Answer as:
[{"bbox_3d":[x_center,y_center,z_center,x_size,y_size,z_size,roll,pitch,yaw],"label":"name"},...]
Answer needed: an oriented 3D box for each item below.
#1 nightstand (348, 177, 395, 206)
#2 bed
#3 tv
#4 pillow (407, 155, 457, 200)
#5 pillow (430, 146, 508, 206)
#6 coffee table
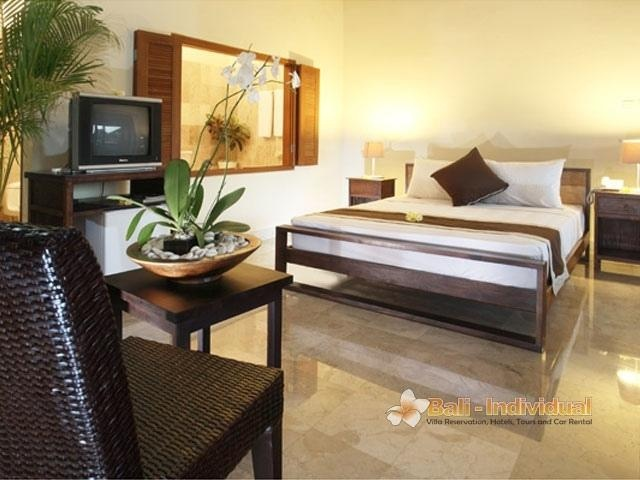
[{"bbox_3d":[0.703,-0.686,6.180,0.571,0.519,0.489,7,11,37],"label":"nightstand"},{"bbox_3d":[1.046,0.052,3.773,1.984,0.659,2.087,10,17,34],"label":"bed"},{"bbox_3d":[-1.685,-0.868,3.562,0.386,0.543,0.720,10,13,36],"label":"tv"},{"bbox_3d":[1.281,-0.677,4.988,0.507,0.481,0.204,17,4,37],"label":"pillow"},{"bbox_3d":[1.498,-0.591,4.377,0.574,0.174,0.575,-33,48,3],"label":"pillow"},{"bbox_3d":[-0.490,0.187,1.767,0.537,0.485,0.535,7,12,33],"label":"coffee table"}]
